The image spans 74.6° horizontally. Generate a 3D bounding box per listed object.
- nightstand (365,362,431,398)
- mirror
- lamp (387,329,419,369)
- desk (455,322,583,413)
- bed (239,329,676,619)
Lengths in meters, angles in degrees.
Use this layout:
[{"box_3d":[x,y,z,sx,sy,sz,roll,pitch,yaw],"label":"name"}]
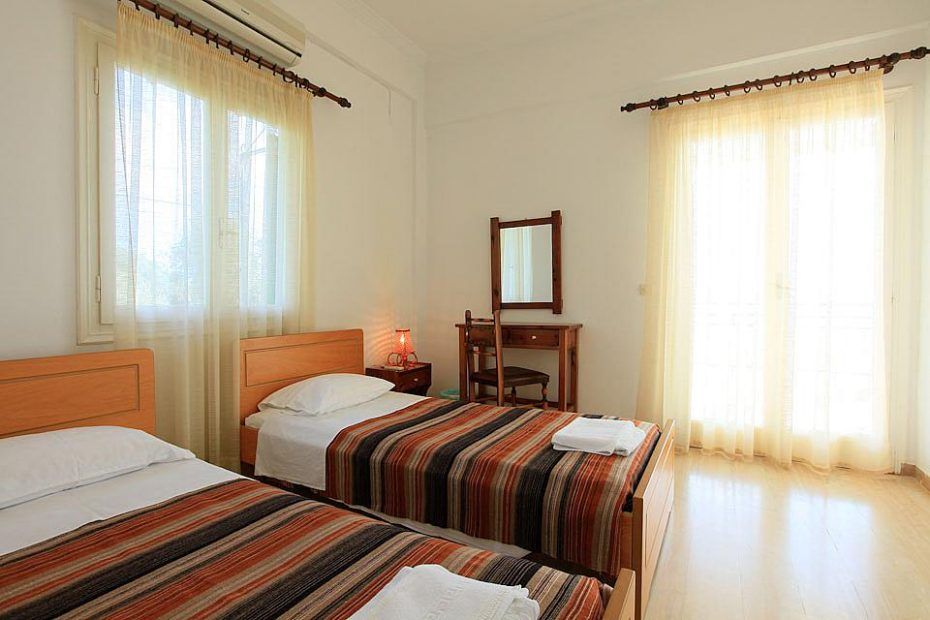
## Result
[{"box_3d":[-0.595,0.509,5.560,0.316,0.422,0.457,1,3,28],"label":"nightstand"},{"box_3d":[0.605,-0.464,5.744,1.000,1.334,0.074,0,0,22],"label":"mirror"},{"box_3d":[-0.528,0.335,5.748,0.321,0.326,0.292,5,6,27],"label":"lamp"},{"box_3d":[0.495,0.574,5.652,1.031,0.988,0.429,1,4,27],"label":"desk"},{"box_3d":[-0.126,0.766,4.156,2.603,1.341,1.619,1,3,22],"label":"bed"}]
